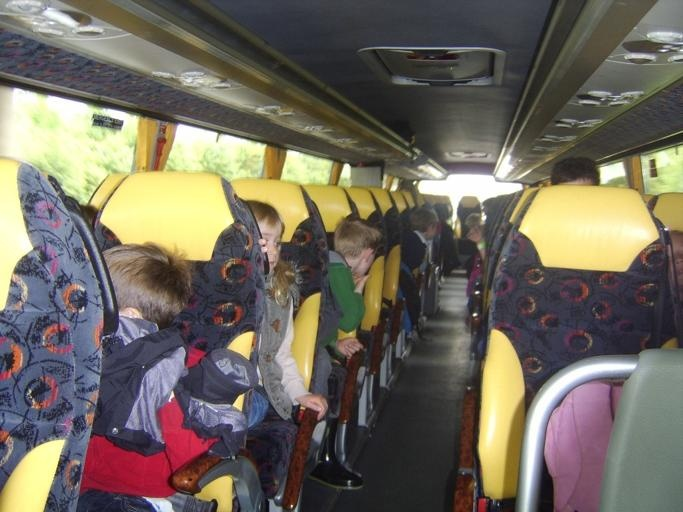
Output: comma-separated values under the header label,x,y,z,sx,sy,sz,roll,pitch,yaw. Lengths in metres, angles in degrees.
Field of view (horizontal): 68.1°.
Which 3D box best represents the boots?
label,x,y,z,sx,sy,sz,roll,pitch,yaw
boots,-0.036,1.210,3.125,0.496,0.480,0.234,2,-10,13
